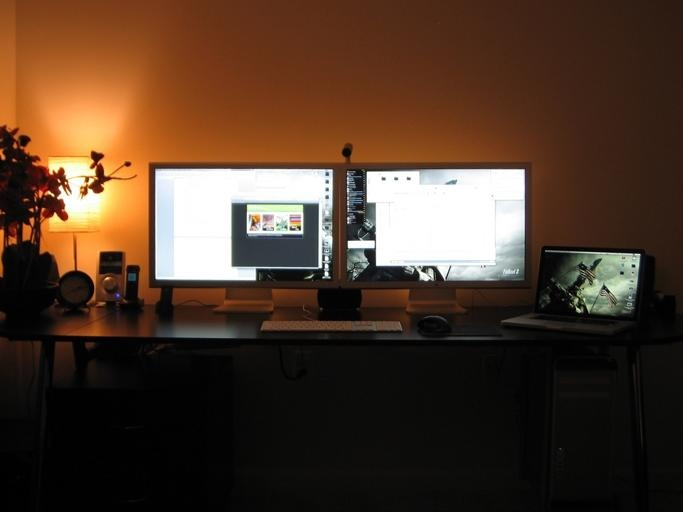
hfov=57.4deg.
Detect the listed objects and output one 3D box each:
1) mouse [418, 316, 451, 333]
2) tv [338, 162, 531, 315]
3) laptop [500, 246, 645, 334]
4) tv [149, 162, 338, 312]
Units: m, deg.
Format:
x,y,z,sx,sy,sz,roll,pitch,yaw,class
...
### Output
x,y,z,sx,sy,sz,roll,pitch,yaw,class
0.378,0.278,2.524,0.136,0.067,0.087,2,3,9,mouse
0.418,-0.106,2.832,0.700,0.555,0.163,0,-2,0,tv
1.058,0.141,2.671,0.437,0.321,0.419,3,4,33,laptop
-0.440,-0.113,2.830,0.677,0.519,0.137,1,4,0,tv
